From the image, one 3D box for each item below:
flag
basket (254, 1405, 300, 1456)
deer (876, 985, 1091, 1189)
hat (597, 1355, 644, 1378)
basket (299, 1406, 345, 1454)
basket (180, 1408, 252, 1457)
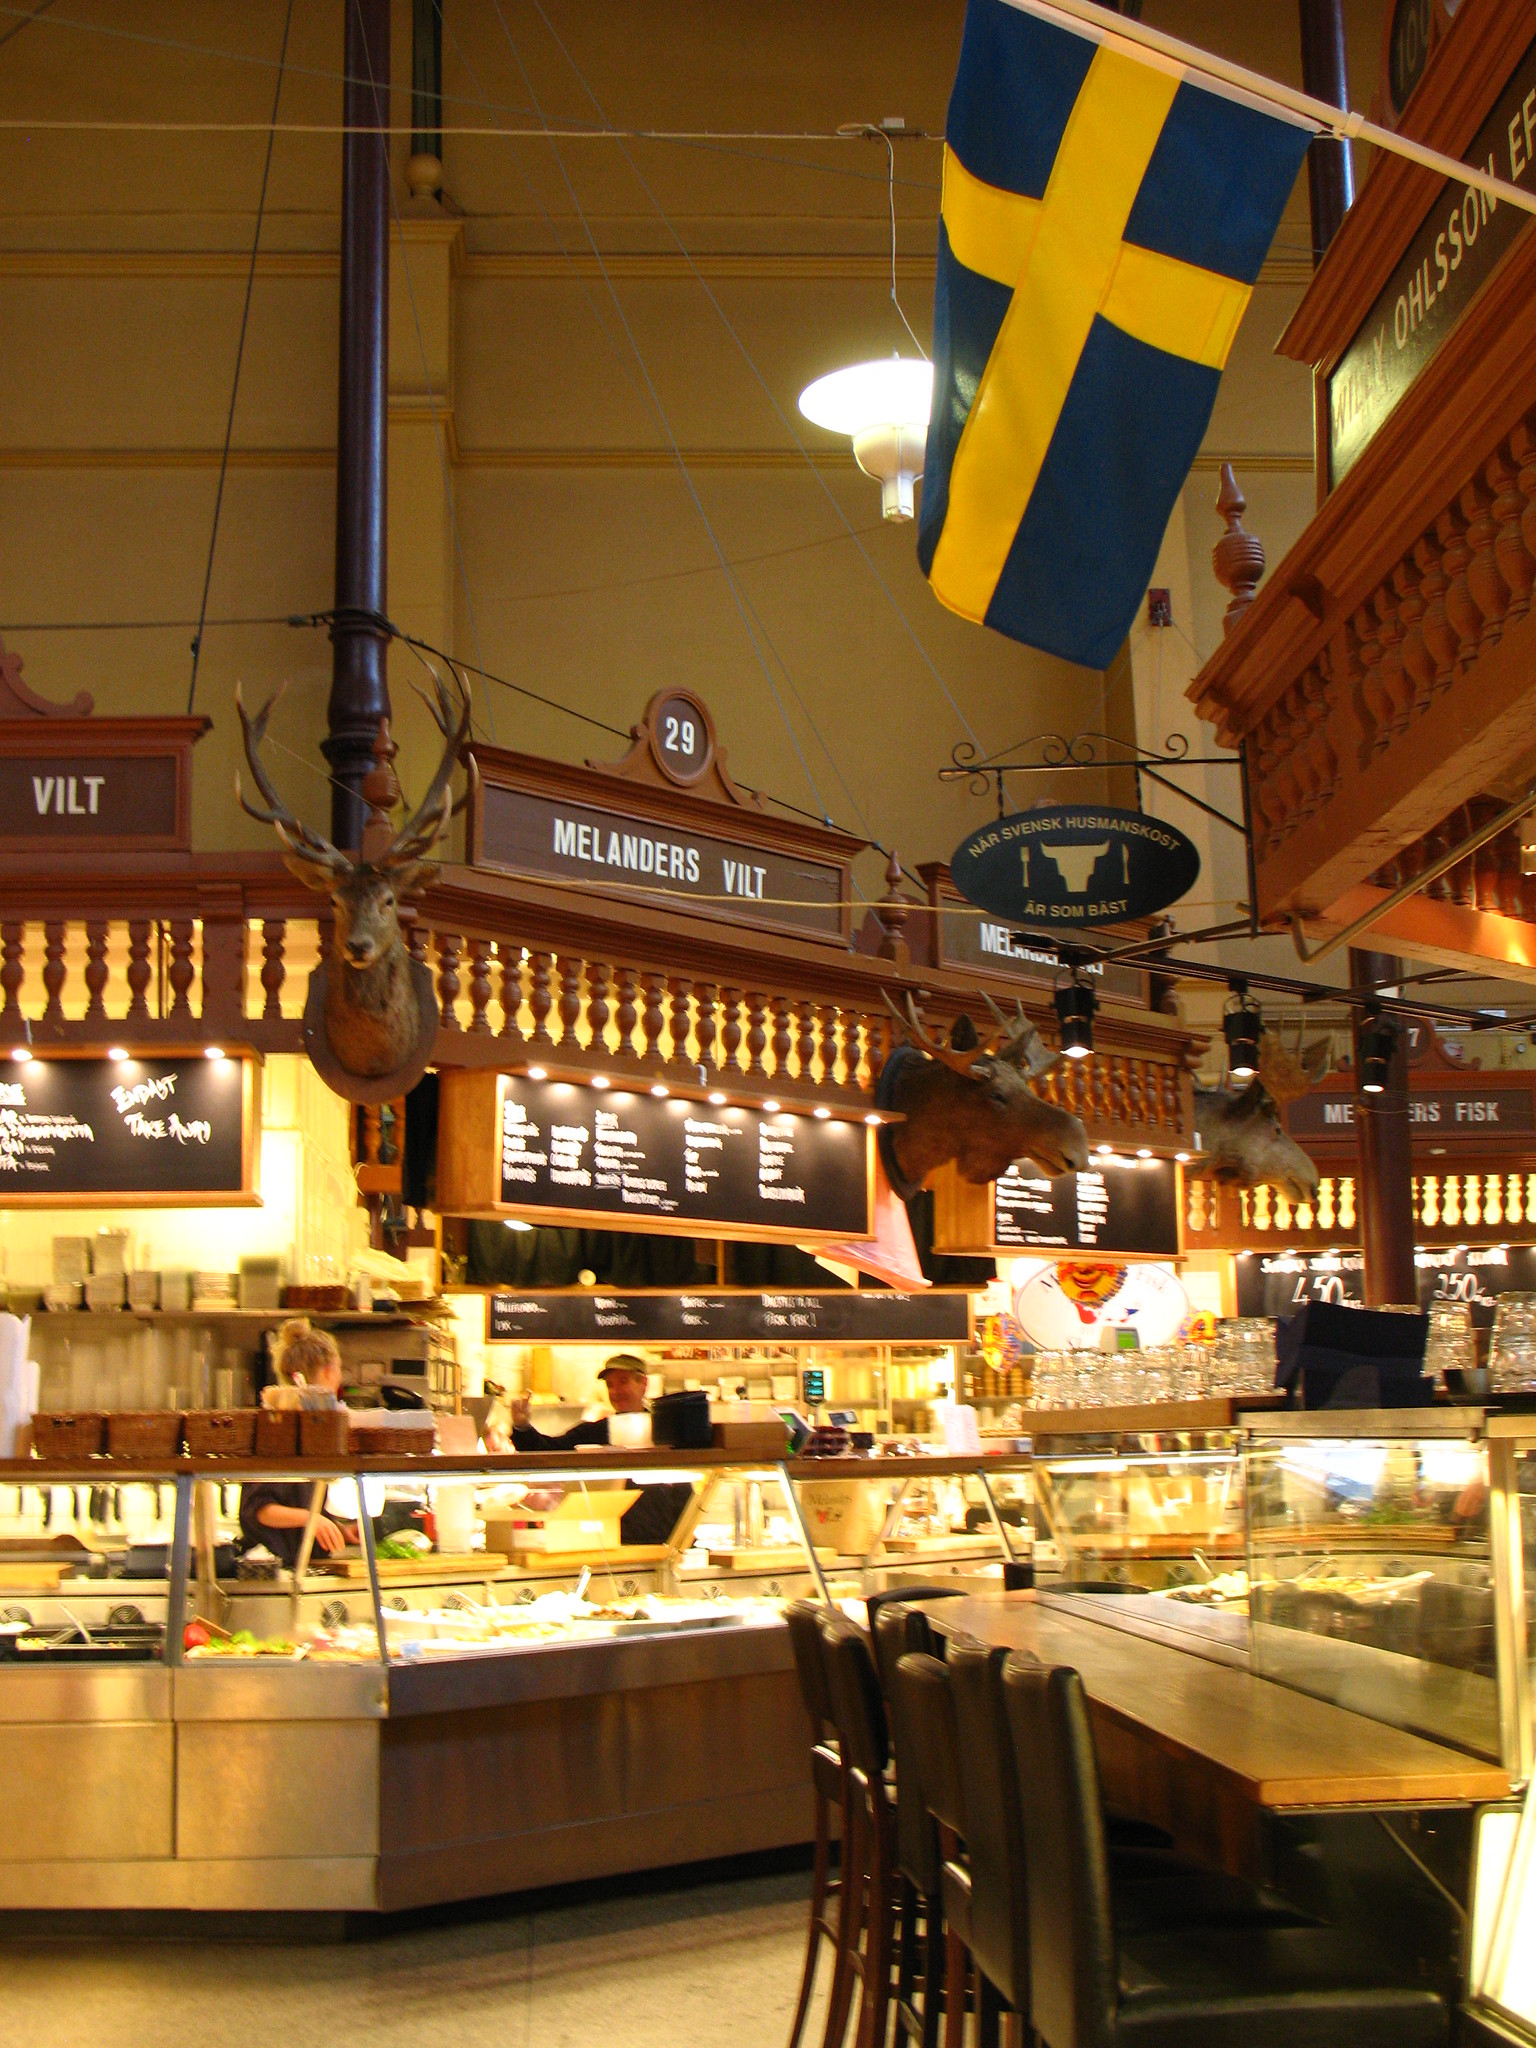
[{"bbox_3d":[0.602,-1.232,3.777,0.562,0.987,0.743,-1,-10,-6],"label":"flag"},{"bbox_3d":[-1.236,1.030,5.248,0.138,0.119,0.094,1,1,-3],"label":"basket"},{"bbox_3d":[0.823,0.332,7.919,0.803,0.813,0.955,7,-2,20],"label":"deer"},{"bbox_3d":[-0.523,1.256,7.637,0.141,0.054,0.145,0,-5,6],"label":"hat"},{"bbox_3d":[-1.130,1.031,5.272,0.115,0.099,0.102,0,-1,-4],"label":"basket"},{"bbox_3d":[-1.399,1.019,5.248,0.155,0.087,0.143,-2,-7,16],"label":"basket"}]
